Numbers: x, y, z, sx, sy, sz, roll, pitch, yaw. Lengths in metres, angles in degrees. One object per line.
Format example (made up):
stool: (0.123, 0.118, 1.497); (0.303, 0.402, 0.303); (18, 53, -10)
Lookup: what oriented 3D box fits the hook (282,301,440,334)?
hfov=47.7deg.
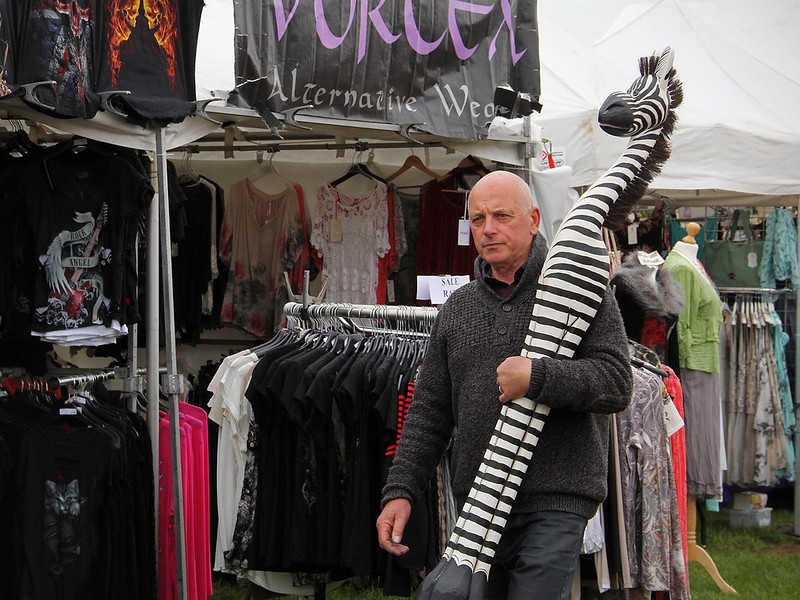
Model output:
hook: (-0.235, 0.114, 5.447); (0.574, 0.186, 0.384); (7, 5, 26)
